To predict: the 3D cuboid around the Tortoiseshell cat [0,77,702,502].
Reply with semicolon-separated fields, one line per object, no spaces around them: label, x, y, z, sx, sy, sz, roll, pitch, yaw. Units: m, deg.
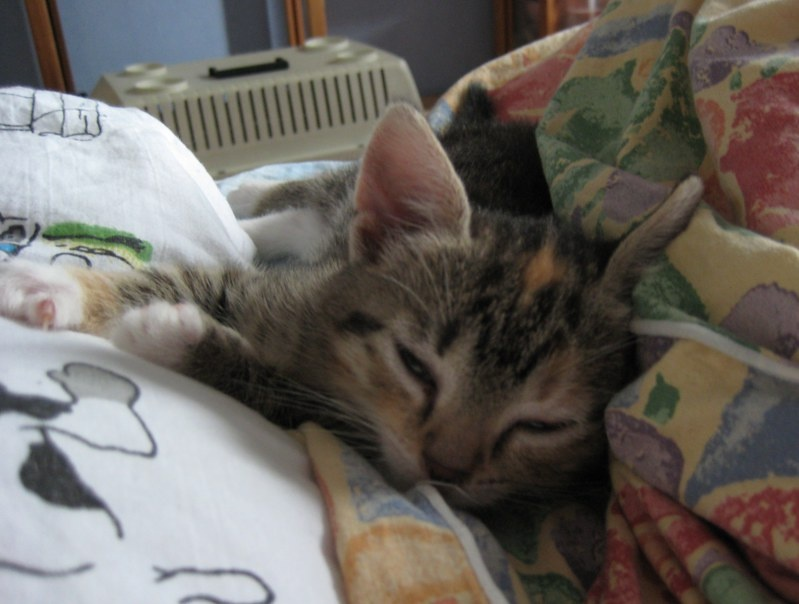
Tortoiseshell cat;-0.012;0.000;1.174;0.454;0.298;0.728;0;29;-33
